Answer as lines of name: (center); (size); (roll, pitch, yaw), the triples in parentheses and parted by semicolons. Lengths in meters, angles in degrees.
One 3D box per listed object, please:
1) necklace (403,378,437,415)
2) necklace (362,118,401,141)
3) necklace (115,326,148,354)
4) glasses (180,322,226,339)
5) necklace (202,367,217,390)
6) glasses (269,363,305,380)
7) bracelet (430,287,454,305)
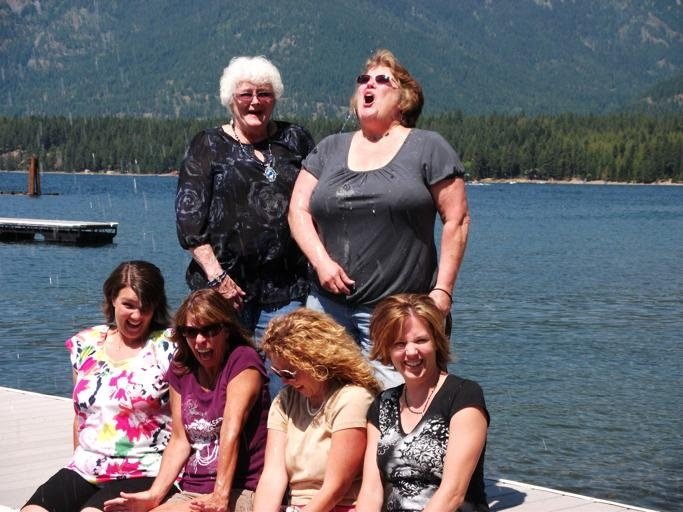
necklace: (0.529, 0.915, 6.166); (0.148, 0.223, 0.018); (1, -7, 31)
necklace: (0.276, -0.911, 6.761); (0.185, 0.156, 0.218); (-8, -14, 12)
necklace: (-1.511, 0.612, 6.841); (0.147, 0.144, 0.083); (17, -10, 9)
glasses: (-0.952, 0.518, 6.568); (0.268, 0.111, 0.059); (3, 3, -8)
necklace: (-0.924, 0.861, 6.644); (0.107, 0.141, 0.069); (-5, -13, 15)
glasses: (-0.319, 0.776, 6.349); (0.143, 0.048, 0.147); (4, -38, 33)
bracelet: (0.734, 0.281, 6.625); (0.137, 0.137, 0.056); (-14, 12, 11)
